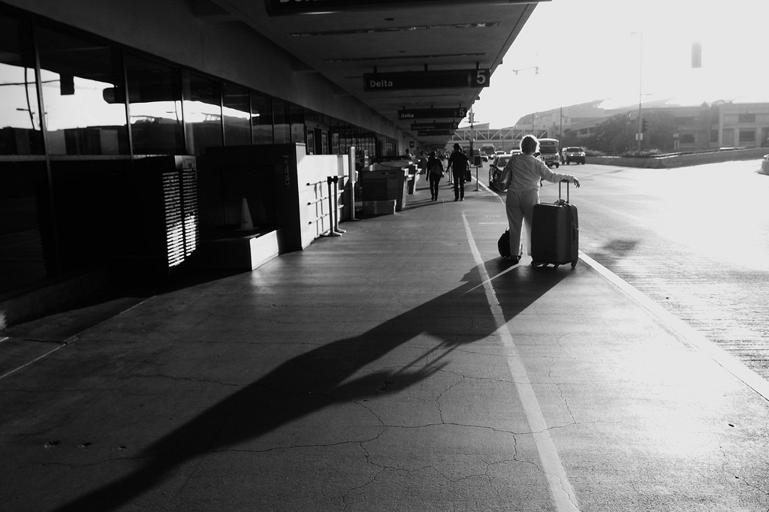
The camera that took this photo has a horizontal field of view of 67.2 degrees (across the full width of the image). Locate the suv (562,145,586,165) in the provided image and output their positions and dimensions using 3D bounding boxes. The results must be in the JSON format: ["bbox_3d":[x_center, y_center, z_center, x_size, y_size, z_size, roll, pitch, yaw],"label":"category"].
[{"bbox_3d":[19.442,-10.224,59.974,1.568,1.537,2.877,2,20,10],"label":"suv"}]

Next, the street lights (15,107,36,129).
[{"bbox_3d":[-5.285,-2.053,8.503,0.095,0.389,0.245,16,28,42],"label":"street lights"}]

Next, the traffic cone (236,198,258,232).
[{"bbox_3d":[-3.066,-0.960,12.862,0.326,0.730,1.002,-4,13,-13],"label":"traffic cone"}]

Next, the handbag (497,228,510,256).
[{"bbox_3d":[2.358,-0.260,11.579,0.127,0.445,0.290,8,-6,-10],"label":"handbag"}]
